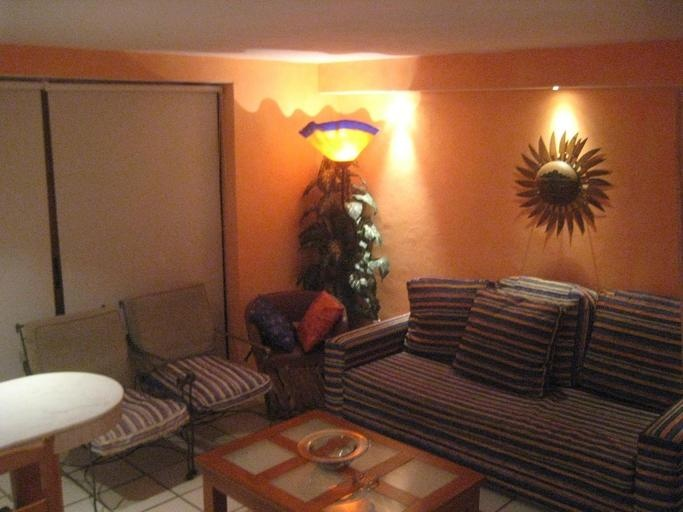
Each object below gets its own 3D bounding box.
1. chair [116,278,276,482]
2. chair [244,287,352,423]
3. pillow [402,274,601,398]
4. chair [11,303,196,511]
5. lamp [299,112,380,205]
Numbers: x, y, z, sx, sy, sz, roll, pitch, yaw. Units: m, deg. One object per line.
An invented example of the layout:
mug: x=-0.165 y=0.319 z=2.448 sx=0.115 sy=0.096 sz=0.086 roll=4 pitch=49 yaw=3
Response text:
chair: x=-1.016 y=0.814 z=4.038 sx=0.810 sy=0.991 sz=0.752 roll=15 pitch=15 yaw=36
chair: x=-0.362 y=0.701 z=4.360 sx=0.694 sy=0.732 sz=0.725 roll=8 pitch=17 yaw=33
pillow: x=0.941 y=0.572 z=3.948 sx=0.819 sy=0.770 sz=0.243 roll=5 pitch=-9 yaw=34
chair: x=-1.533 y=0.834 z=3.762 sx=0.977 sy=1.248 sz=1.218 roll=-9 pitch=14 yaw=-42
lamp: x=0.019 y=-0.694 z=4.519 sx=0.622 sy=0.587 sz=0.610 roll=-2 pitch=-4 yaw=-44
